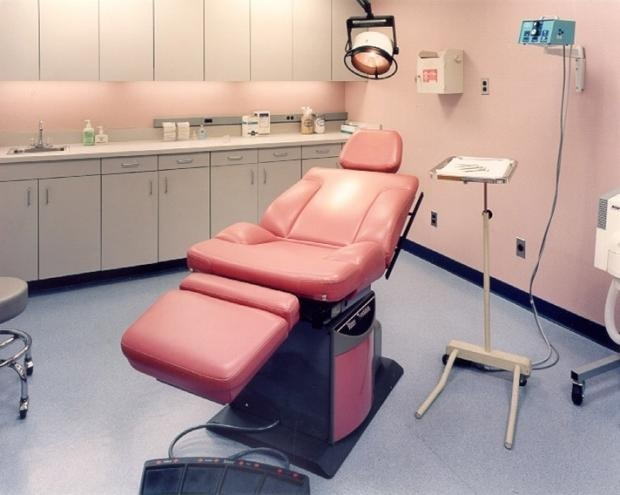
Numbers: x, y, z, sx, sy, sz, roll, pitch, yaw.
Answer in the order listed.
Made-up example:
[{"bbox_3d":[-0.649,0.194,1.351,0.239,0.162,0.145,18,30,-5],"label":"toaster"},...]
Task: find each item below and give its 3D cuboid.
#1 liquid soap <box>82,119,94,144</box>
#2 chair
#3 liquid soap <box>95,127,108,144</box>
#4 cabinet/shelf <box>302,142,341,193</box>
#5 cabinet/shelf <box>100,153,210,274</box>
[{"bbox_3d":[-1.767,-0.931,4.025,0.099,0.186,0.205,-6,20,-22],"label":"liquid soap"},{"bbox_3d":[-0.094,-0.001,2.327,0.767,0.736,1.551,13,25,33],"label":"chair"},{"bbox_3d":[-1.697,-0.931,4.110,0.100,0.129,0.142,-5,19,-22],"label":"liquid soap"},{"bbox_3d":[0.069,-0.722,4.764,0.509,0.499,0.342,-5,11,-30],"label":"cabinet/shelf"},{"bbox_3d":[-1.194,-0.299,3.806,0.844,0.815,0.318,-5,8,-38],"label":"cabinet/shelf"}]
